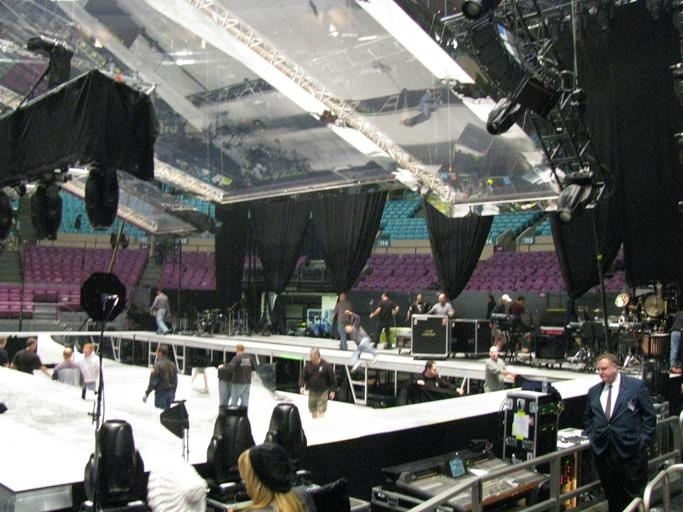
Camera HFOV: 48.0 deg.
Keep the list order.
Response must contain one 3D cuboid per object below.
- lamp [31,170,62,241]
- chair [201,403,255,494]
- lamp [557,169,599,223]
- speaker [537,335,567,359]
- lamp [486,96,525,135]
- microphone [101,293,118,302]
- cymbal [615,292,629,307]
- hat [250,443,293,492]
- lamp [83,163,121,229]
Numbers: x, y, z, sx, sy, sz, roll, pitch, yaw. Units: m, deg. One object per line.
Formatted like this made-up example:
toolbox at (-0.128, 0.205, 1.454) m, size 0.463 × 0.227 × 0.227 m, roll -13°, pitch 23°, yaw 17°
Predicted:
lamp at (-3.737, -0.602, 9.632) m, size 0.365 × 0.654 × 0.932 m, roll 3°, pitch -11°, yaw -22°
chair at (-1.060, 1.804, 7.127) m, size 0.444 × 0.783 × 0.234 m, roll 0°, pitch -9°, yaw -6°
lamp at (2.980, -0.737, 9.810) m, size 0.648 × 0.710 × 0.332 m, roll 4°, pitch -11°, yaw -27°
speaker at (3.670, 1.599, 13.499) m, size 0.431 × 0.472 × 0.415 m, roll 0°, pitch 1°, yaw 43°
lamp at (1.942, -1.699, 9.151) m, size 0.323 × 0.500 × 0.194 m, roll 38°, pitch 12°, yaw 12°
microphone at (-2.310, 0.419, 7.592) m, size 0.160 × 0.074 × 0.029 m, roll 4°, pitch -10°, yaw -26°
cymbal at (4.862, 0.748, 13.281) m, size 0.227 × 0.269 × 0.379 m, roll -4°, pitch -11°, yaw 21°
hat at (-0.562, 1.675, 6.042) m, size 0.113 × 0.362 × 0.321 m, roll -36°, pitch -49°, yaw 23°
lamp at (-2.864, -0.687, 9.115) m, size 0.431 × 0.654 × 0.453 m, roll 7°, pitch -12°, yaw -38°
